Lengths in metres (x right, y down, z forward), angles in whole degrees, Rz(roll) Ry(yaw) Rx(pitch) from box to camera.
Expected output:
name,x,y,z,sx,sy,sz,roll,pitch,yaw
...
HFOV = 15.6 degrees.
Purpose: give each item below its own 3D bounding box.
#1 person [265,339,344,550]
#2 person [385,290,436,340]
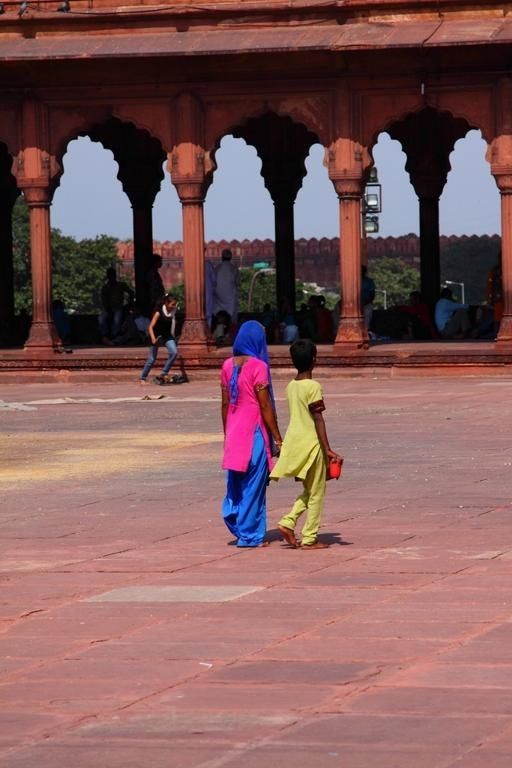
name,x,y,z,sx,sy,sz,roll,pitch,yaw
person,0.236,0.273,8.910,0.339,0.951,0.797,-1,4,2
person,2.051,-0.857,23.879,0.510,0.577,1.148,-1,4,2
